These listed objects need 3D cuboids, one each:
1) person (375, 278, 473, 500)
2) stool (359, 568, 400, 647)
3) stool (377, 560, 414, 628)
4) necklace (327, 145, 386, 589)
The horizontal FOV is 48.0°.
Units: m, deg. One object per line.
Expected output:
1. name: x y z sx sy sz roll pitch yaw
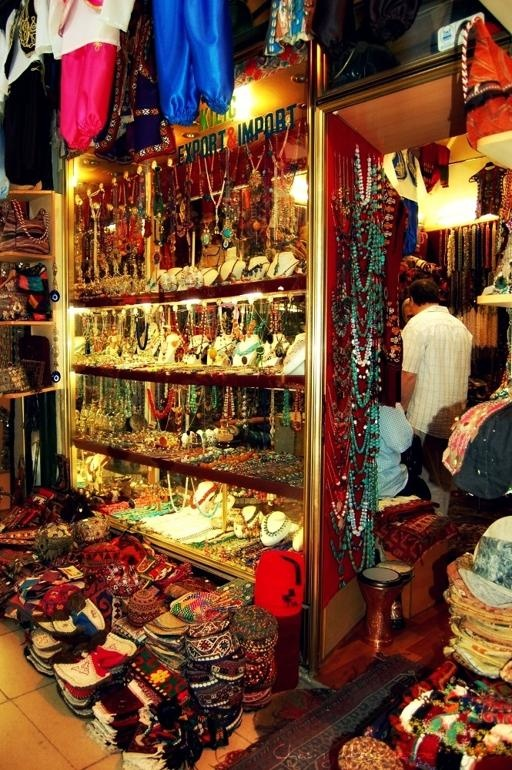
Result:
1. person: 1.012 0.001 3.315 0.380 1.225 0.314 4 5 20
2. stool: 0.503 0.923 2.360 0.165 0.276 0.167 3 2 36
3. stool: 0.540 0.909 2.408 0.176 0.251 0.173 -10 12 13
4. necklace: 0.395 -0.079 2.297 0.137 1.734 0.474 5 5 28
